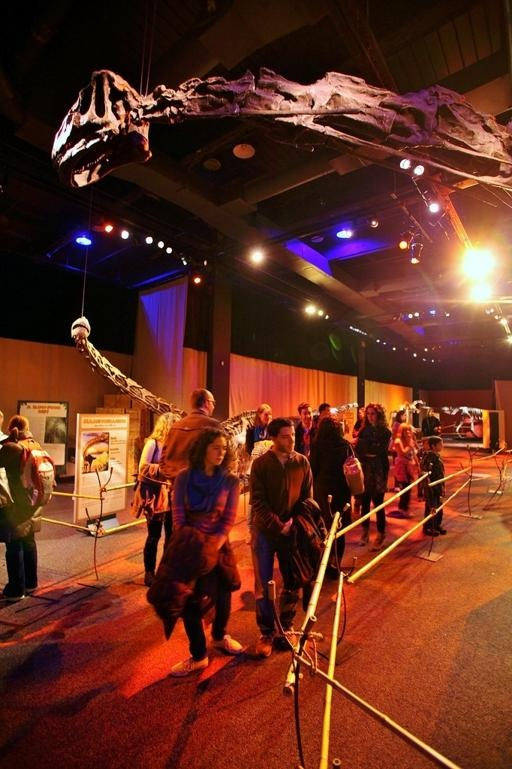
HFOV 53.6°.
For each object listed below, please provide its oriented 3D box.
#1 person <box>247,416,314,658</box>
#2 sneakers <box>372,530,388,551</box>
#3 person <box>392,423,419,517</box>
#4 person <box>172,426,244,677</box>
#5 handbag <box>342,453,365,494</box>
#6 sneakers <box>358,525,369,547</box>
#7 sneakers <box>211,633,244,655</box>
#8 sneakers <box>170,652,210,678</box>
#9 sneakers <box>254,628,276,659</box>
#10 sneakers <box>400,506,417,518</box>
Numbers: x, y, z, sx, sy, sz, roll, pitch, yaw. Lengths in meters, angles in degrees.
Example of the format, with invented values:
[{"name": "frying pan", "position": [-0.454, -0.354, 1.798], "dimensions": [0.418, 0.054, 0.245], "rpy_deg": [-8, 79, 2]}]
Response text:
[{"name": "person", "position": [0.152, 0.943, 3.208], "dimensions": [0.390, 1.458, 0.297], "rpy_deg": [0, 1, 0]}, {"name": "sneakers", "position": [1.215, 1.584, 5.100], "dimensions": [0.086, 0.167, 0.256], "rpy_deg": [1, 1, 28]}, {"name": "person", "position": [1.986, 1.146, 6.872], "dimensions": [0.322, 1.231, 0.824], "rpy_deg": [1, 1, 16]}, {"name": "person", "position": [-0.284, 0.971, 2.966], "dimensions": [0.309, 1.405, 0.576], "rpy_deg": [1, 1, 41]}, {"name": "handbag", "position": [0.758, 0.742, 4.035], "dimensions": [0.148, 0.320, 0.331], "rpy_deg": [0, 1, 9]}, {"name": "sneakers", "position": [1.112, 1.583, 5.294], "dimensions": [0.084, 0.177, 0.225], "rpy_deg": [0, 1, 12]}, {"name": "sneakers", "position": [-0.170, 1.622, 3.146], "dimensions": [0.163, 0.070, 0.087], "rpy_deg": [-6, -16, 22]}, {"name": "sneakers", "position": [-0.385, 1.634, 2.921], "dimensions": [0.227, 0.092, 0.087], "rpy_deg": [8, -20, -15]}, {"name": "sneakers", "position": [0.061, 1.608, 3.138], "dimensions": [0.136, 0.132, 0.122], "rpy_deg": [0, 1, -18]}, {"name": "sneakers", "position": [2.020, 1.722, 6.841], "dimensions": [0.115, 0.117, 0.272], "rpy_deg": [-5, -10, 21]}]
